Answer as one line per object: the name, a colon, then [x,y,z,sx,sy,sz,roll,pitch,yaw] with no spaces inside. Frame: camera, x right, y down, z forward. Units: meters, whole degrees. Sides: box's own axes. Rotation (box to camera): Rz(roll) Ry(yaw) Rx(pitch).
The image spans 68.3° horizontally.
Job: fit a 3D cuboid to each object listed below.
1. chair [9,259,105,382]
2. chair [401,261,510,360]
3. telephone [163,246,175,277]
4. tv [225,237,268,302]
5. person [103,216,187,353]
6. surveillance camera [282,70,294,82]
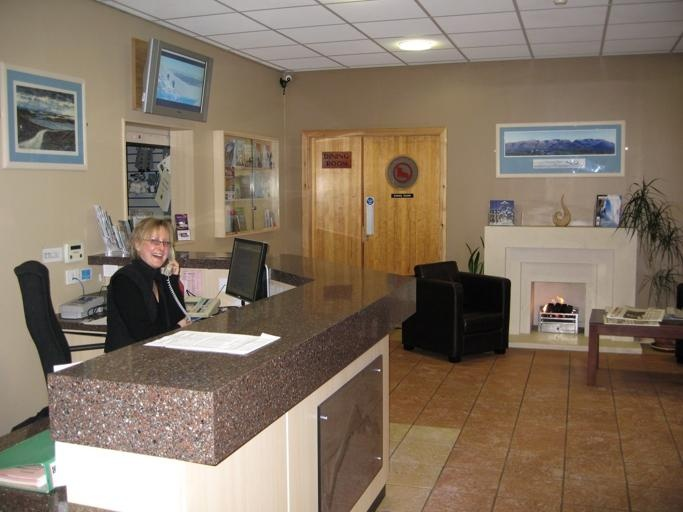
chair: [-1.711,0.376,2.942,0.319,0.679,0.191,4,8,39]
chair: [1.430,0.678,6.323,0.879,1.100,1.064,-7,9,-42]
telephone: [-1.180,0.041,3.459,0.064,0.203,0.174,8,9,1]
tv: [-0.652,0.114,3.483,0.176,0.487,0.464,8,6,-35]
person: [-1.167,0.221,3.182,0.575,0.860,0.628,-3,0,-18]
surveillance camera: [-0.825,-2.805,7.850,0.125,0.175,0.161,7,8,-2]
